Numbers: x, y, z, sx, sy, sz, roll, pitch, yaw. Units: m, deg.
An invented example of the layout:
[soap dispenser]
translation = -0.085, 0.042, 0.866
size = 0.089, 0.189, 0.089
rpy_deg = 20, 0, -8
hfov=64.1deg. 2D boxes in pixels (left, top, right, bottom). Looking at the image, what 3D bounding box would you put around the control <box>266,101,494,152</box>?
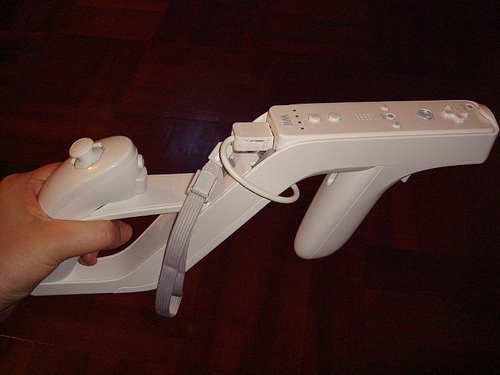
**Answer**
[control]
translation = 0.326, -0.164, 0.987
size = 0.563, 0.040, 0.118
rpy_deg = -5, 56, -8
